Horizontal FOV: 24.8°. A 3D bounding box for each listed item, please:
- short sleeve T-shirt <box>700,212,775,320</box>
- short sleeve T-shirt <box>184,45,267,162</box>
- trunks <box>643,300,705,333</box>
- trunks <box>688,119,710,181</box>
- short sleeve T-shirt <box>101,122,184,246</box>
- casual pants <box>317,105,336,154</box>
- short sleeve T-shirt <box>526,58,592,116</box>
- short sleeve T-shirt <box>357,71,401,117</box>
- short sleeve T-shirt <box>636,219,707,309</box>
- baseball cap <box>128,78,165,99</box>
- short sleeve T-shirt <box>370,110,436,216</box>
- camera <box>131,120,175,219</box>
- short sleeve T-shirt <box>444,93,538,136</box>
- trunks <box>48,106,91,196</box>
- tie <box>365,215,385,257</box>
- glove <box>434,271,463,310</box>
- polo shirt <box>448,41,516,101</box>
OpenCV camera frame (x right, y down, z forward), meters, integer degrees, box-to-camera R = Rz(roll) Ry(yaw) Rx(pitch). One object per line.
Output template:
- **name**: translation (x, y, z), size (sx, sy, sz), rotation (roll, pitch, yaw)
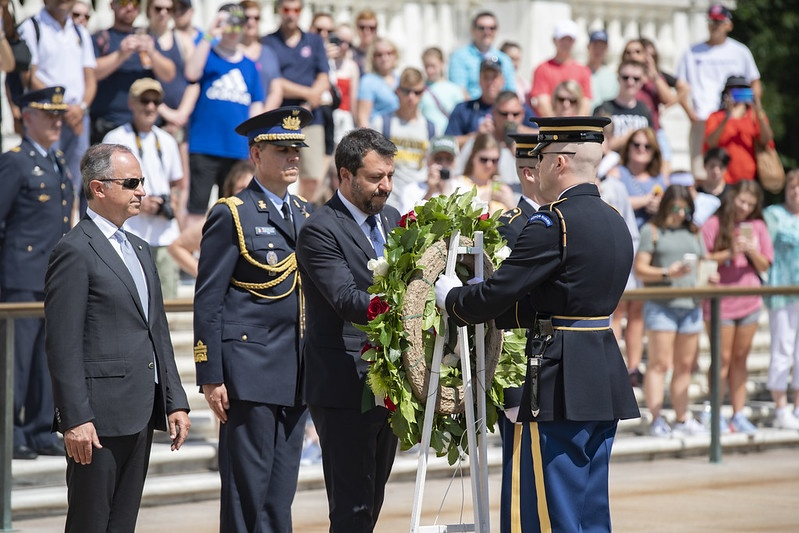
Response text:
- **short sleeve T-shirt**: translation (3.523, 0.087, 19.274), size (0.874, 1.219, 0.637), rotation (4, 5, -13)
- **short sleeve T-shirt**: translation (-1.851, -1.764, 19.504), size (0.853, 1.217, 0.632), rotation (8, -4, -26)
- **trunks**: translation (2.813, 0.579, 18.612), size (0.541, 0.418, 0.323), rotation (4, -12, -19)
- **trunks**: translation (3.461, -1.336, 21.026), size (0.243, 0.686, 0.764), rotation (0, 7, -2)
- **short sleeve T-shirt**: translation (-2.692, -0.794, 18.786), size (0.910, 1.239, 0.489), rotation (-12, 0, -39)
- **casual pants**: translation (-0.804, -1.507, 20.297), size (0.099, 0.565, 0.243), rotation (-2, -1, 7)
- **short sleeve T-shirt**: translation (1.896, -2.174, 21.045), size (0.837, 0.365, 0.412), rotation (-1, -1, -38)
- **short sleeve T-shirt**: translation (-0.250, -1.924, 20.325), size (0.442, 0.505, 0.487), rotation (-2, -1, -1)
- **short sleeve T-shirt**: translation (2.805, 0.035, 18.893), size (0.807, 0.994, 0.504), rotation (3, -8, -14)
- **baseball cap**: translation (-2.572, -1.817, 18.404), size (0.330, 0.235, 0.368), rotation (-2, -1, -9)
- **short sleeve T-shirt**: translation (0.127, -1.217, 20.158), size (0.751, 1.021, 1.050), rotation (0, 2, -29)
- **camera**: translation (-2.441, -0.910, 18.495), size (0.299, 1.158, 0.331), rotation (-23, -15, 35)
- **short sleeve T-shirt**: translation (0.990, -1.627, 19.712), size (0.947, 0.522, 0.295), rotation (-11, -17, -6)
- **trunks**: translation (-3.453, -1.167, 18.904), size (0.420, 0.361, 1.515), rotation (-24, 22, -1)
- **tie**: translation (-0.213, -0.245, 15.651), size (0.097, 0.497, 0.064), rotation (-13, -19, -8)
- **glove**: translation (0.378, 0.210, 15.183), size (0.214, 0.300, 0.106), rotation (-7, -37, 16)
- **polo shirt**: translation (0.976, -2.292, 21.340), size (0.751, 0.735, 0.424), rotation (0, 32, -9)
